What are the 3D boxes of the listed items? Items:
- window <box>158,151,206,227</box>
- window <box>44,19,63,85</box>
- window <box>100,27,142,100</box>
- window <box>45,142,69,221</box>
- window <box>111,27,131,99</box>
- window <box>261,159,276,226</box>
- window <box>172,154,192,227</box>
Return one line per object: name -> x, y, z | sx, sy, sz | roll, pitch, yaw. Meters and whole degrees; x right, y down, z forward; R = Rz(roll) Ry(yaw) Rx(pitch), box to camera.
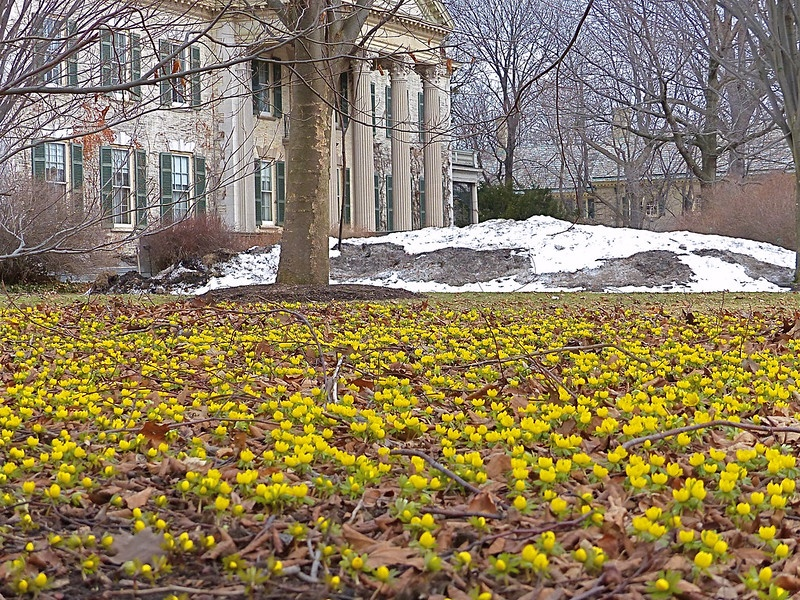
window -> -6.869, -3.433, 25.322 | 1.292, 2.619, 0.252 | -1, 27, -19
window -> -4.182, -3.041, 9.656 | 0.171, 0.818, 0.070 | -6, 33, -33
window -> -2.380, -2.031, 6.849 | 0.065, 0.641, 0.236 | 4, 11, -33
window -> -9.842, -3.454, 22.977 | 0.640, 2.325, 0.179 | -3, 10, -44
window -> -2.330, -1.978, 6.651 | 0.156, 0.588, 0.058 | 1, -9, -24
window -> -4.591, -3.715, 27.235 | 0.146, 2.106, 0.727 | 1, 3, 29
window -> -6.974, -3.563, 25.545 | 0.611, 2.293, 0.266 | -3, 27, -22
